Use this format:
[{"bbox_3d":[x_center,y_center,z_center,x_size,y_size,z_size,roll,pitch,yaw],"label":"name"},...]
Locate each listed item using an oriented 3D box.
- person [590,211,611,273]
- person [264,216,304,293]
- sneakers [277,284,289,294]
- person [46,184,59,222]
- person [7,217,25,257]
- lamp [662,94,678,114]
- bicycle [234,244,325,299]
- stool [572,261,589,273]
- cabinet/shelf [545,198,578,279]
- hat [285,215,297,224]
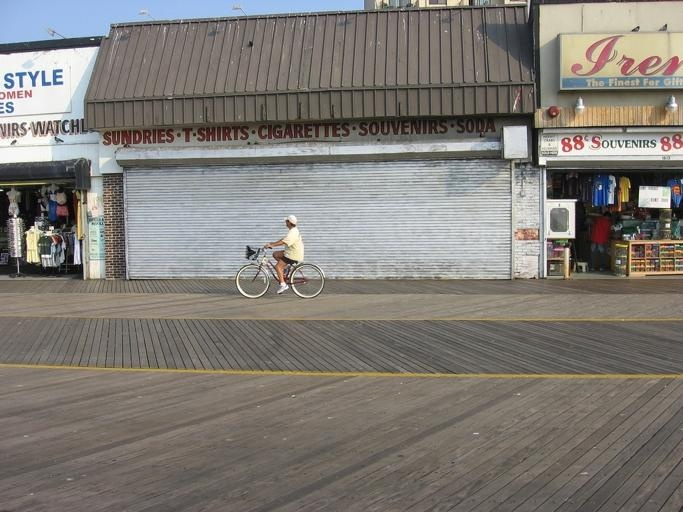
[{"bbox_3d":[7.384,-0.366,22.816,0.541,1.539,0.394,2,10,16],"label":"person"},{"bbox_3d":[-1.264,0.019,17.626,0.719,1.805,0.954,-2,10,-6],"label":"person"},{"bbox_3d":[-1.333,0.720,17.643,0.193,0.144,0.437,29,-15,-16],"label":"sneakers"},{"bbox_3d":[-8.912,-1.652,24.423,0.558,1.103,0.232,6,12,34],"label":"person"},{"bbox_3d":[-9.748,-0.528,23.801,0.413,1.240,0.567,-5,11,-23],"label":"person"},{"bbox_3d":[8.510,-3.915,20.611,0.418,0.503,0.414,-2,5,-10],"label":"lamp"},{"bbox_3d":[-1.291,0.469,18.077,2.310,1.262,0.940,3,0,2],"label":"bicycle"},{"bbox_3d":[6.713,0.301,22.476,0.356,0.239,0.318,-1,0,-4],"label":"stool"},{"bbox_3d":[5.795,-0.491,21.381,0.806,2.045,0.671,1,10,13],"label":"cabinet/shelf"},{"bbox_3d":[-1.175,-0.790,17.573,0.209,0.123,0.286,-6,30,-36],"label":"hat"}]
